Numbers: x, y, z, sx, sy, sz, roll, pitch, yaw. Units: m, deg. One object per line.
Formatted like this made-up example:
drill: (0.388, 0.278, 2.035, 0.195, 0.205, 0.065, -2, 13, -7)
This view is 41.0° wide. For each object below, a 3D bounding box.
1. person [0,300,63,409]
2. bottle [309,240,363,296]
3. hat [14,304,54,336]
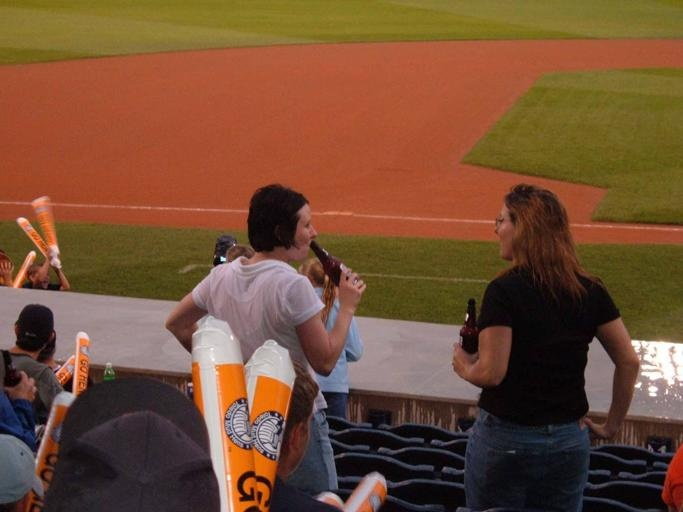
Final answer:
person: (-1.945, 0.632, 5.737, 0.359, 0.811, 0.288, 10, 29, -6)
bottle: (-0.060, 0.041, 4.862, 0.461, 0.097, 0.144, 52, -5, 42)
hat: (-1.873, 0.368, 5.629, 0.160, 0.127, 0.215, 9, 26, -13)
